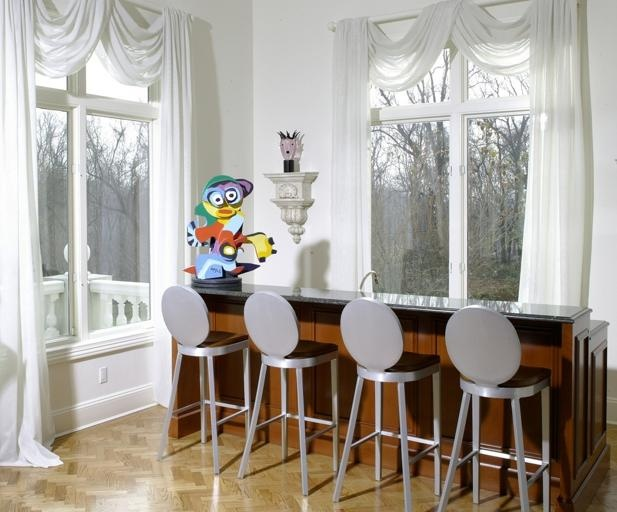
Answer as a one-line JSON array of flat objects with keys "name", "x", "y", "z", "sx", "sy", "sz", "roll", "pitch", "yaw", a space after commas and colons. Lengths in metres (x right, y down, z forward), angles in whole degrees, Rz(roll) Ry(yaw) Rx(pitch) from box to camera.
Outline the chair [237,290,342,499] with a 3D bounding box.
[{"name": "chair", "x": -0.098, "y": 0.824, "z": 3.609, "sx": 0.450, "sy": 1.344, "sz": 0.480, "roll": 6, "pitch": 12, "yaw": 44}]

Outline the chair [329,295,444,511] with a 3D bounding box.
[{"name": "chair", "x": 0.469, "y": 0.823, "z": 3.365, "sx": 0.644, "sy": 1.228, "sz": 0.614, "roll": 1, "pitch": 7, "yaw": 15}]

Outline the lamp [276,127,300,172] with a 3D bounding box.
[{"name": "lamp", "x": -0.168, "y": -0.959, "z": 5.208, "sx": 0.198, "sy": 0.376, "sz": 0.262, "roll": -1, "pitch": 7, "yaw": -4}]

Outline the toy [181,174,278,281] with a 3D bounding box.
[{"name": "toy", "x": -0.600, "y": -0.212, "z": 4.248, "sx": 0.635, "sy": 0.774, "sz": 0.242, "roll": -2, "pitch": 7, "yaw": -8}]

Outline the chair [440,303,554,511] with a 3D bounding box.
[{"name": "chair", "x": 1.039, "y": 0.842, "z": 3.116, "sx": 0.610, "sy": 1.231, "sz": 0.560, "roll": 2, "pitch": 7, "yaw": 21}]
